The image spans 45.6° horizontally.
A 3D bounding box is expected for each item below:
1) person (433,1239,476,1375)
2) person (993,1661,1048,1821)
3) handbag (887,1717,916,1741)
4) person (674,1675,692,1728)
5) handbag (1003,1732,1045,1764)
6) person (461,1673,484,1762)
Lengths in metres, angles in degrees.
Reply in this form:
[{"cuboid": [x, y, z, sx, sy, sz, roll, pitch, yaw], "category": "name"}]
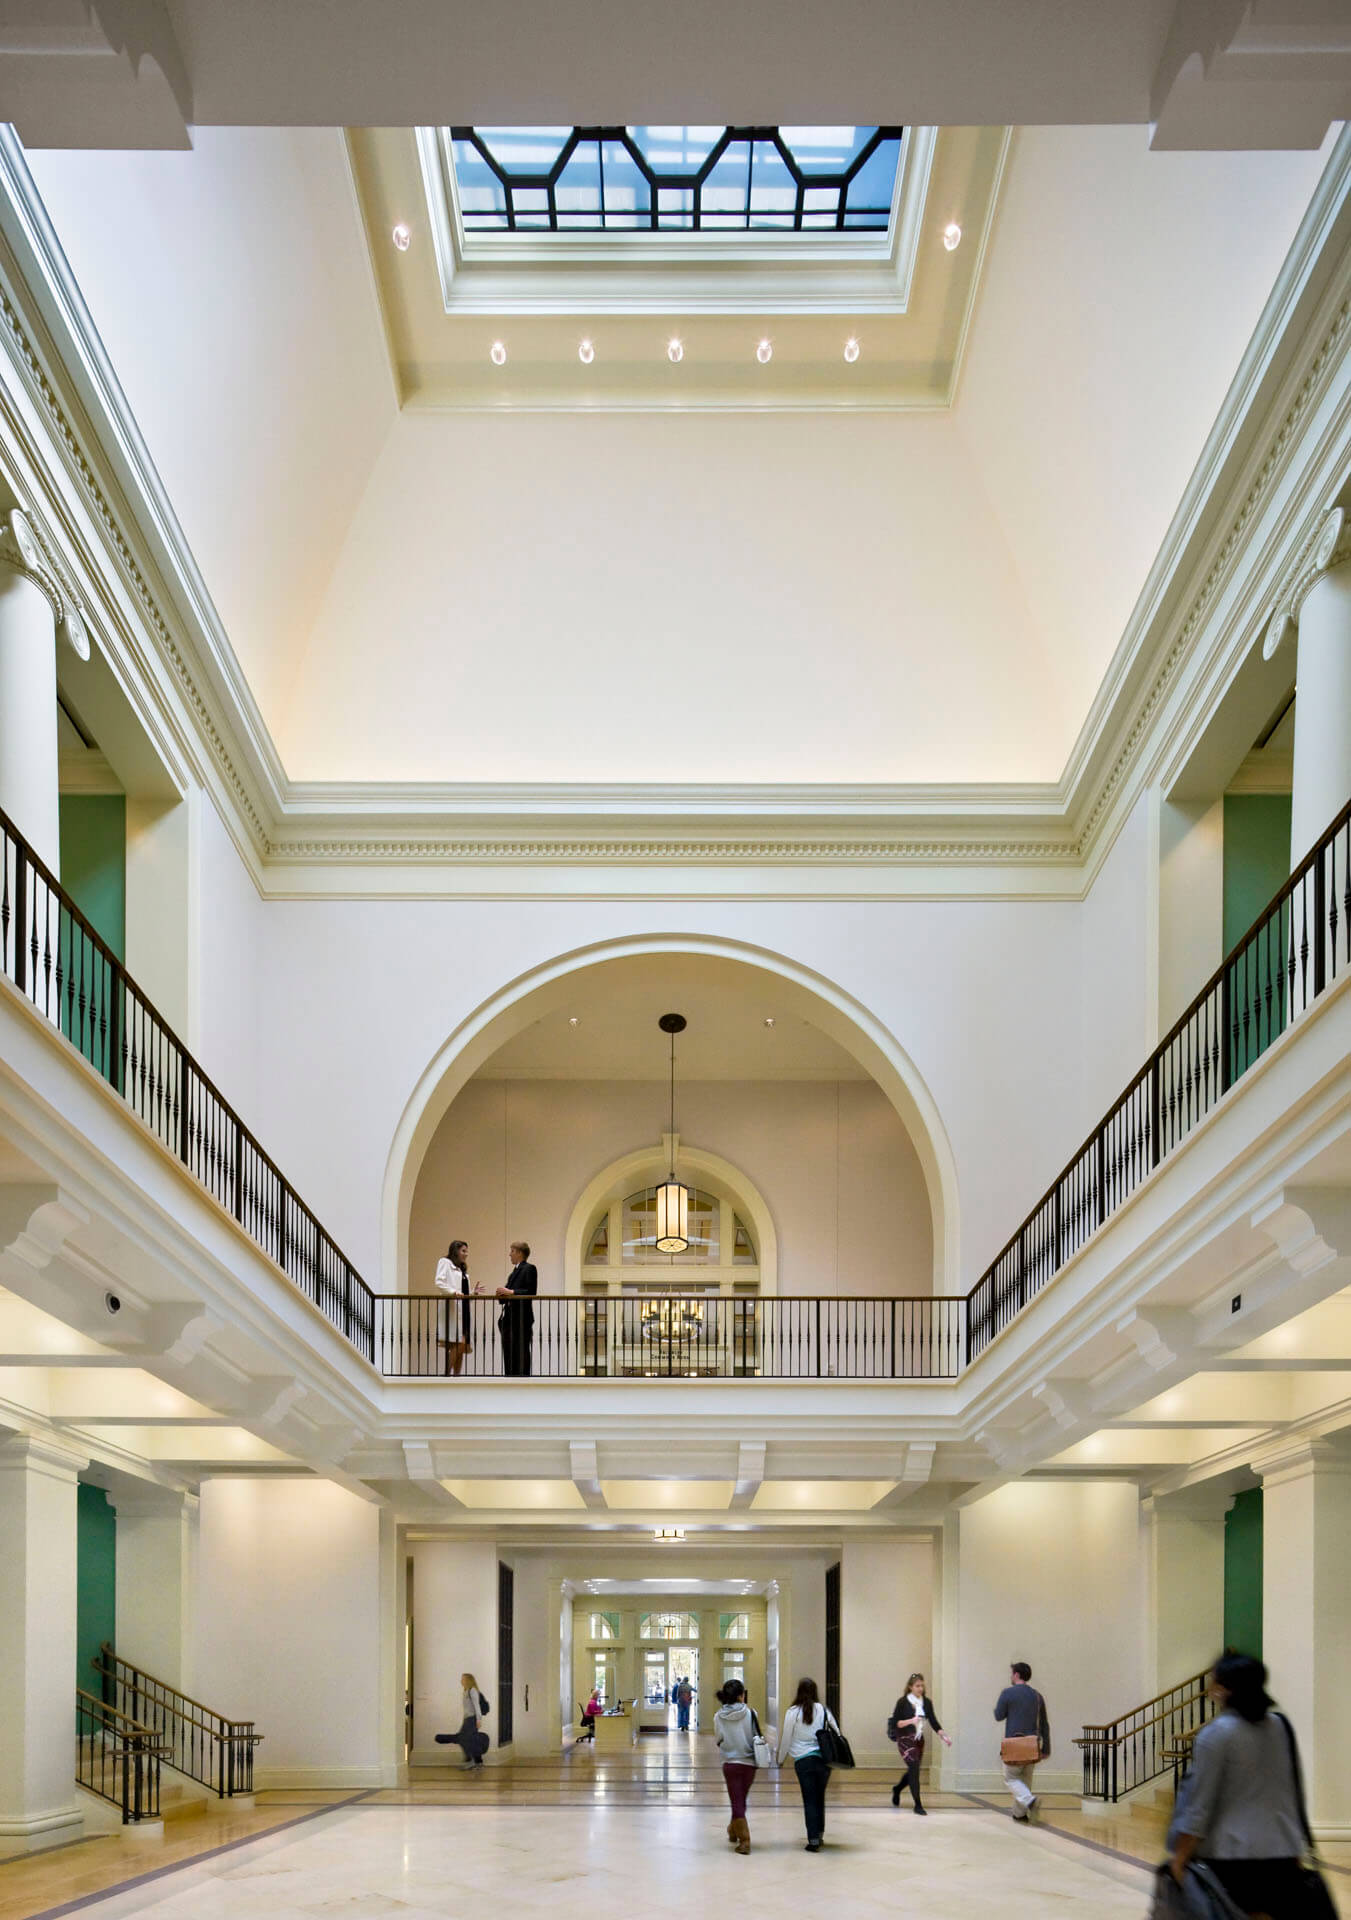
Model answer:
[{"cuboid": [-2.096, 3.231, 15.121, 0.279, 1.438, 1.242, 3, -21, -9], "category": "person"}, {"cuboid": [2.949, 6.644, 13.795, 0.387, 1.243, 2.268, -3, -24, 11], "category": "person"}, {"cuboid": [1.977, 6.757, 14.016, 0.169, 0.196, 0.204, 2, -11, -16], "category": "handbag"}, {"cuboid": [0.115, 15.622, 33.779, 0.393, 0.957, 1.008, 0, -22, 2], "category": "person"}, {"cuboid": [2.798, 6.432, 13.088, 0.363, 0.236, 0.368, 5, -24, -10], "category": "handbag"}, {"cuboid": [-2.540, 9.504, 20.165, 0.312, 1.040, 1.136, 3, -22, -6], "category": "person"}]
